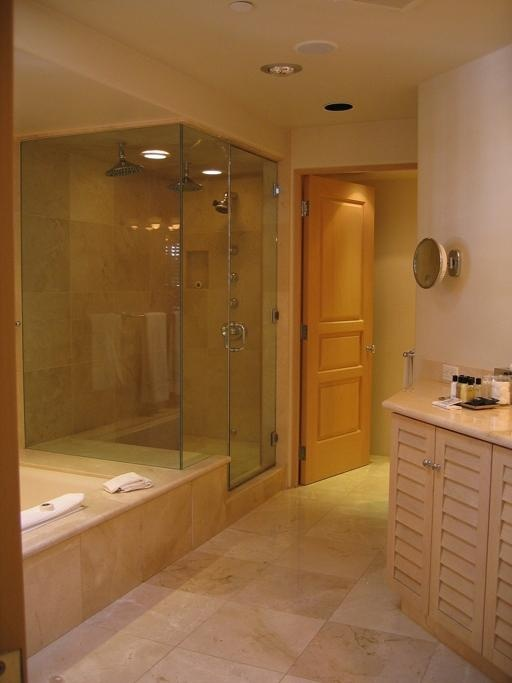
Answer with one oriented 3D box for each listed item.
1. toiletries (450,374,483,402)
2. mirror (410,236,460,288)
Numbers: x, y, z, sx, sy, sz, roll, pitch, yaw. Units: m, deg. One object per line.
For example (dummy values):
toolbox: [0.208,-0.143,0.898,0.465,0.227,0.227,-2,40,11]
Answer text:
toiletries: [0.829,0.181,2.173,0.106,0.103,0.100,6,10,35]
mirror: [0.832,-0.379,2.575,0.158,0.258,0.231,0,1,-21]
